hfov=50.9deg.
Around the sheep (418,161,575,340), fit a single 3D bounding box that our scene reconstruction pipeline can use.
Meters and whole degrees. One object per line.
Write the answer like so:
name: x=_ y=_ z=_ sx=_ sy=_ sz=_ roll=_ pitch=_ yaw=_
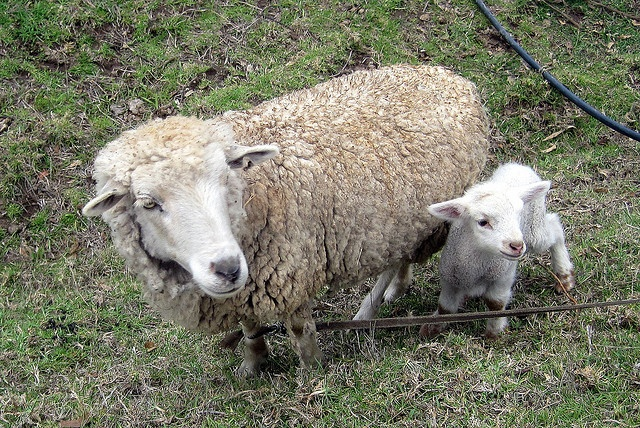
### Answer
sheep: x=1.729 y=0.195 z=7.695 sx=1.278 sy=1.586 sz=2.151 roll=19 pitch=38 yaw=42
